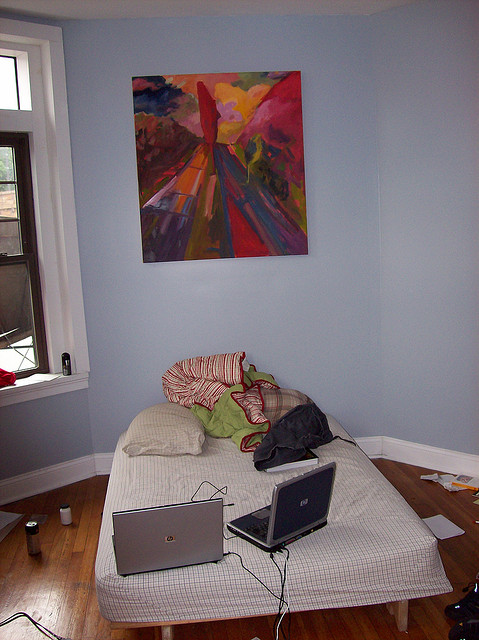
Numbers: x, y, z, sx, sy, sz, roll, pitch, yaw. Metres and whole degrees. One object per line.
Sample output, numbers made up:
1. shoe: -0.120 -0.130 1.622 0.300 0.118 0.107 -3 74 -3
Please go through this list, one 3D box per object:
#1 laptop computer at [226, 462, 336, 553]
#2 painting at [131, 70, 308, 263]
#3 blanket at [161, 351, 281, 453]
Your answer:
1. laptop computer: 0.160 0.660 1.933 0.330 0.266 0.267 -7 11 -42
2. painting: -0.159 -1.045 3.324 1.250 1.220 0.013 -3 7 -2
3. blanket: -0.064 0.446 3.183 0.674 0.257 0.845 -8 34 -24
